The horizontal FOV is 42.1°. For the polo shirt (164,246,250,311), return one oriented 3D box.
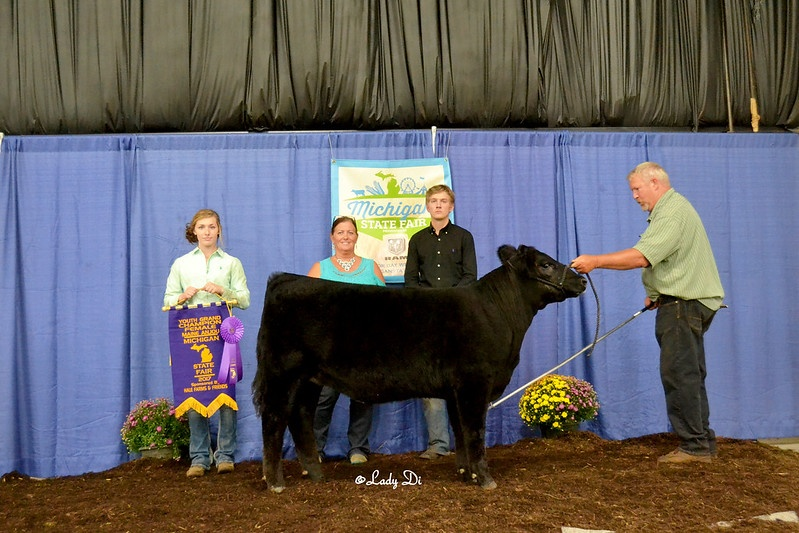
[{"bbox_3d":[-2.154,0.095,11.484,0.887,0.666,0.470,0,4,8],"label":"polo shirt"}]

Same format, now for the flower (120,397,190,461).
[{"bbox_3d":[-2.771,1.805,11.627,0.687,0.479,0.670,0,-1,-7],"label":"flower"}]

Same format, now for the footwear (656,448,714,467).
[{"bbox_3d":[3.004,2.013,10.960,0.557,0.216,0.204,0,-23,9],"label":"footwear"}]

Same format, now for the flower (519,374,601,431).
[{"bbox_3d":[1.793,1.549,11.841,0.683,0.485,0.715,-1,-3,7],"label":"flower"}]

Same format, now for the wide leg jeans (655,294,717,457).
[{"bbox_3d":[3.057,1.179,11.119,0.591,1.688,0.702,-1,13,4],"label":"wide leg jeans"}]

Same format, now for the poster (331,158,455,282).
[{"bbox_3d":[-0.139,-0.480,11.913,1.466,1.485,0.111,-1,-2,-3],"label":"poster"}]

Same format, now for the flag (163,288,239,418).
[{"bbox_3d":[-2.157,0.995,11.195,0.693,1.203,0.309,-5,14,-14],"label":"flag"}]

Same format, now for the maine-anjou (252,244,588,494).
[{"bbox_3d":[0.097,1.135,11.027,2.532,1.742,0.734,0,-17,0],"label":"maine-anjou"}]

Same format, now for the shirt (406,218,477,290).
[{"bbox_3d":[0.433,-0.123,11.720,0.807,0.787,0.439,3,7,9],"label":"shirt"}]
